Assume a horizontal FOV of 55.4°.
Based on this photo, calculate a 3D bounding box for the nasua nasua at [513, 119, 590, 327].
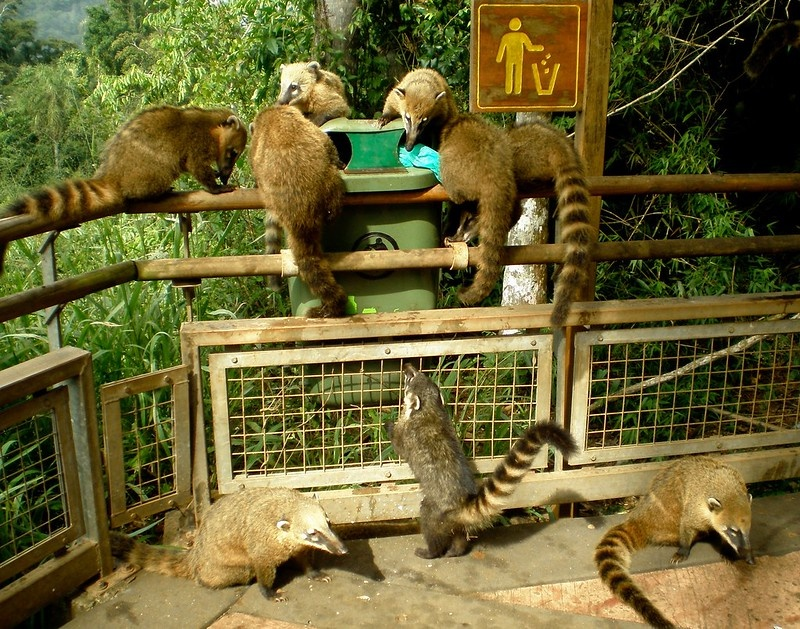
[{"bbox_3d":[0.963,-0.631,4.594,0.603,1.135,0.188,5,-15,16],"label":"nasua nasua"}]

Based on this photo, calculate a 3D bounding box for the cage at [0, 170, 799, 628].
[{"bbox_3d":[-0.414,0.469,5.861,4.359,1.997,1.086,1,-3,-18],"label":"cage"}]

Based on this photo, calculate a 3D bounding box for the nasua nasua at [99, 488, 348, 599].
[{"bbox_3d":[-0.891,1.116,3.882,1.202,0.527,0.416,2,25,0],"label":"nasua nasua"}]

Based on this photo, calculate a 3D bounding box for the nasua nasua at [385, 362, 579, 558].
[{"bbox_3d":[0.342,0.882,3.996,0.338,0.950,1.215,0,14,-42],"label":"nasua nasua"}]

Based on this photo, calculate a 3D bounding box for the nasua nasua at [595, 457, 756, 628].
[{"bbox_3d":[1.386,1.117,3.883,0.980,0.410,0.600,-16,24,-35],"label":"nasua nasua"}]

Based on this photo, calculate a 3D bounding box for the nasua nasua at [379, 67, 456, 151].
[{"bbox_3d":[0.135,-1.625,5.779,0.630,0.374,0.948,6,34,2],"label":"nasua nasua"}]

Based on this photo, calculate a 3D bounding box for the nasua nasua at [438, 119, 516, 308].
[{"bbox_3d":[0.481,-0.750,4.886,0.356,1.325,0.439,-6,-27,13],"label":"nasua nasua"}]
